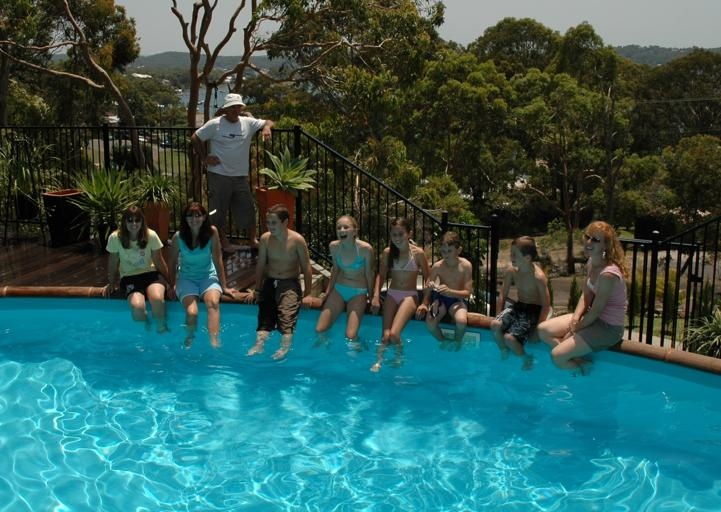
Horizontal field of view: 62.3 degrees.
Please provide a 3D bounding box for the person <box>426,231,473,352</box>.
[{"bbox_3d":[1.076,0.418,7.232,0.508,1.409,0.402,3,5,10],"label":"person"}]

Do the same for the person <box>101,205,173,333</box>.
[{"bbox_3d":[-2.845,0.153,7.593,0.816,1.558,0.589,2,5,-6],"label":"person"}]

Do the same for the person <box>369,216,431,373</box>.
[{"bbox_3d":[0.427,0.404,7.267,0.807,1.724,0.621,-2,7,-40],"label":"person"}]

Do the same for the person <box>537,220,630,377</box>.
[{"bbox_3d":[2.479,0.471,6.705,0.891,1.742,0.778,-9,17,-18],"label":"person"}]

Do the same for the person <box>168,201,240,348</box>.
[{"bbox_3d":[-2.009,0.224,7.410,0.762,1.727,0.618,2,5,-8],"label":"person"}]

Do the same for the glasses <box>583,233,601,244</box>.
[{"bbox_3d":[2.506,-0.175,6.451,0.172,0.096,0.094,7,7,36],"label":"glasses"}]

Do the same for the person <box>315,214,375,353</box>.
[{"bbox_3d":[-0.177,0.311,7.307,0.687,1.591,0.545,2,5,0],"label":"person"}]

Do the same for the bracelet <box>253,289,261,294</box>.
[{"bbox_3d":[-1.306,0.451,7.501,0.054,0.046,0.058,1,6,0],"label":"bracelet"}]

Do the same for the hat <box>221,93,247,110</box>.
[{"bbox_3d":[-1.880,-2.227,8.696,0.269,0.173,0.342,-3,9,-16],"label":"hat"}]

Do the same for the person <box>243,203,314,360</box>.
[{"bbox_3d":[-0.977,0.286,7.348,0.704,1.789,0.787,2,5,-5],"label":"person"}]

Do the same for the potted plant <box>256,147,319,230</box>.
[{"bbox_3d":[-1.085,-0.914,8.874,0.786,1.181,0.841,15,24,-1],"label":"potted plant"}]
